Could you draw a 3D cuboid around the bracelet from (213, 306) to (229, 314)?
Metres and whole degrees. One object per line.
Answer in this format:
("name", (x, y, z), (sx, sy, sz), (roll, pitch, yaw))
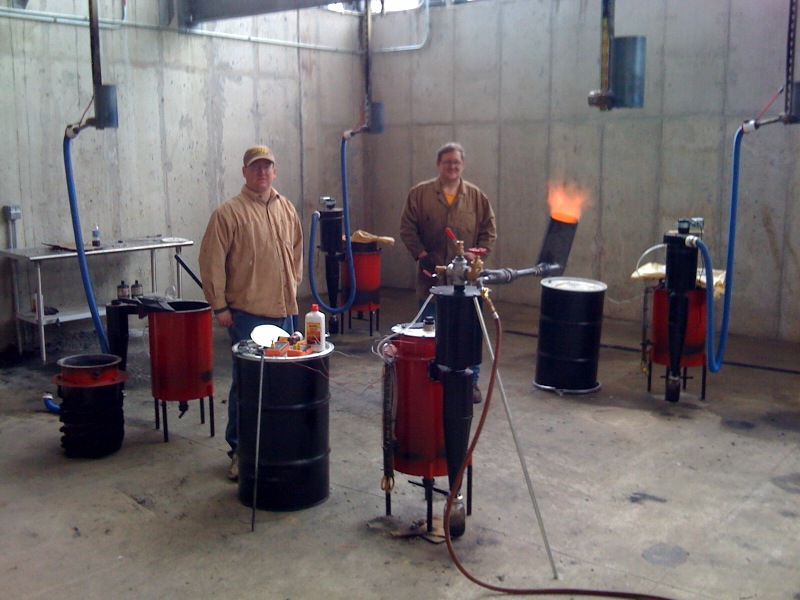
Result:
("bracelet", (-1.103, 0.056, 4.844), (0.102, 0.042, 0.032), (-10, 14, -43))

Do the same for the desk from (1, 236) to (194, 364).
("desk", (-2.697, -0.005, 6.719), (0.351, 0.680, 0.991), (18, 22, 39))

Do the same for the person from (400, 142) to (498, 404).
("person", (0.350, -0.234, 6.314), (0.723, 2.102, 0.645), (5, 27, 11))

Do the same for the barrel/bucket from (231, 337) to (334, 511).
("barrel/bucket", (-0.683, 0.703, 4.679), (0.574, 0.947, 0.587), (0, 13, 0))

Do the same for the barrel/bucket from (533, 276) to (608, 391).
("barrel/bucket", (1.359, 0.312, 6.320), (0.569, 0.880, 0.547), (4, 6, 0))

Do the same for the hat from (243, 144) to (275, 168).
("hat", (-0.911, -0.927, 4.980), (0.174, 0.134, 0.319), (-3, 11, -12))
